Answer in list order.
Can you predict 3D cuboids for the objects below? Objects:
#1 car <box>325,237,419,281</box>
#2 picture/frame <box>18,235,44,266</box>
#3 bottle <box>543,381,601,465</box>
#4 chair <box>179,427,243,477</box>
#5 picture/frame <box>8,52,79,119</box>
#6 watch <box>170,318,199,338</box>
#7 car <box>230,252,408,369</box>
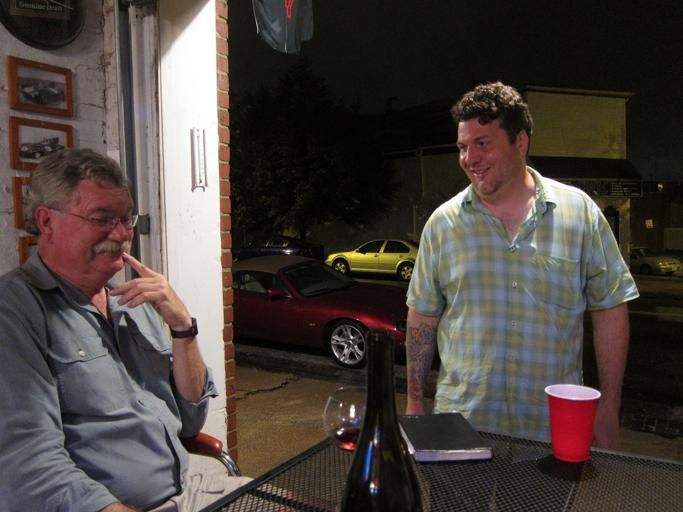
[{"bbox_3d":[1.162,0.110,20.628,3.106,1.142,1.483,7,7,31],"label":"car"},{"bbox_3d":[-1.572,-0.028,2.962,0.111,0.172,0.168,0,2,11],"label":"picture/frame"},{"bbox_3d":[0.784,0.583,1.997,0.176,0.211,0.177,-1,-5,40],"label":"bottle"},{"bbox_3d":[-0.627,0.970,2.916,0.214,0.289,0.253,6,5,17],"label":"chair"},{"bbox_3d":[-1.746,-0.989,3.401,0.033,0.340,0.445,0,1,36],"label":"picture/frame"},{"bbox_3d":[-0.770,0.365,2.907,0.110,0.045,0.112,-7,18,-20],"label":"watch"},{"bbox_3d":[-0.426,0.634,8.131,2.149,0.705,1.290,7,7,30],"label":"car"}]
